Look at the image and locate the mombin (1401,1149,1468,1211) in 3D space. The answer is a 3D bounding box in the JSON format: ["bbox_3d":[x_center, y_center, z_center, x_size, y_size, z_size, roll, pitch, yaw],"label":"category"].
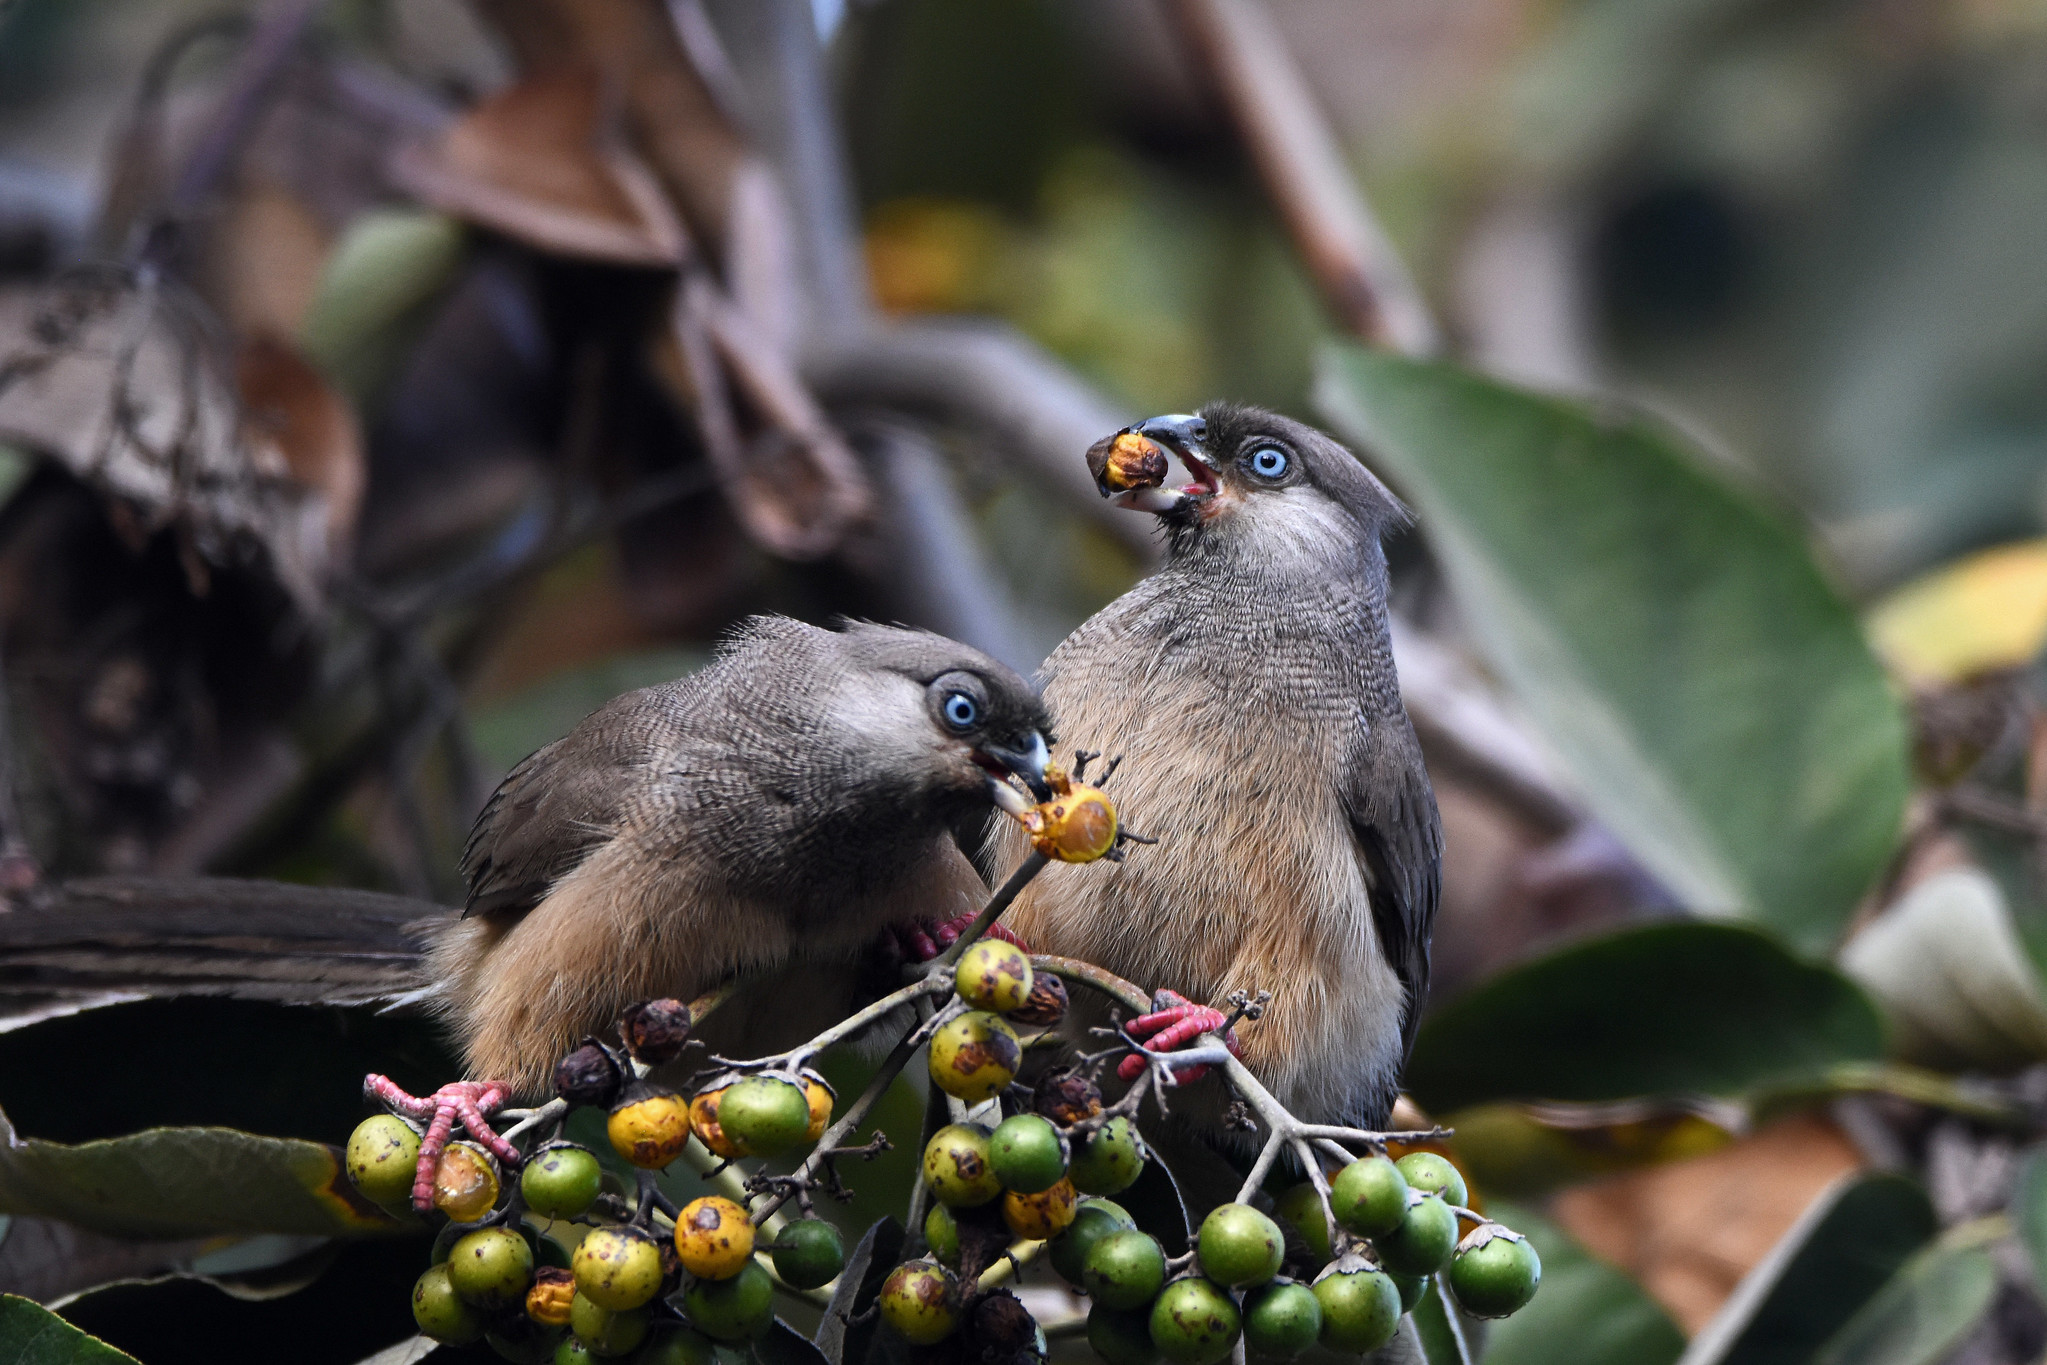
[{"bbox_3d":[0.264,0.314,1.755,0.036,0.037,0.044,-7,-36,36],"label":"mombin"}]

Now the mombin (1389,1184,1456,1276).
[{"bbox_3d":[0.253,0.342,1.731,0.046,0.054,0.045,7,-1,-44],"label":"mombin"}]

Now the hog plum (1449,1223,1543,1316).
[{"bbox_3d":[0.298,0.371,1.736,0.055,0.057,0.056,4,3,2],"label":"hog plum"}]

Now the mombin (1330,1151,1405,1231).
[{"bbox_3d":[0.214,0.314,1.716,0.042,0.051,0.043,0,1,5],"label":"mombin"}]

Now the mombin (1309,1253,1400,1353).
[{"bbox_3d":[0.212,0.382,1.732,0.057,0.068,0.058,-13,-8,23],"label":"mombin"}]
